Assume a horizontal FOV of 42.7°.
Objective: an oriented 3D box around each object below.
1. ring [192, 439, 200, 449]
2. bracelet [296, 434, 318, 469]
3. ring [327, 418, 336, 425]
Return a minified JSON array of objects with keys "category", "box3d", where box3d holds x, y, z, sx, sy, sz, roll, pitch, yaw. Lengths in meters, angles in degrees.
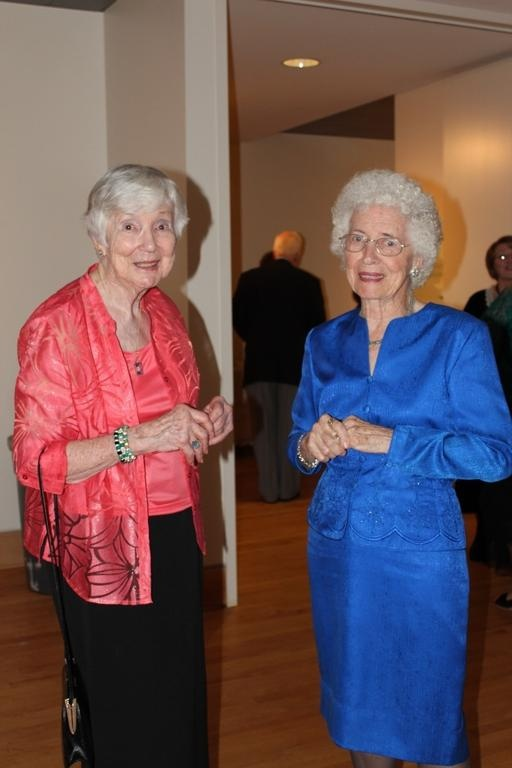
[{"category":"ring","box3d":[-0.128,0.129,1.388,0.015,0.023,0.026,0,6,1]},{"category":"bracelet","box3d":[0.120,0.168,1.621,0.032,0.075,0.063,-22,-11,22]},{"category":"ring","box3d":[0.160,0.079,1.396,0.011,0.005,0.015,-3,33,7]}]
